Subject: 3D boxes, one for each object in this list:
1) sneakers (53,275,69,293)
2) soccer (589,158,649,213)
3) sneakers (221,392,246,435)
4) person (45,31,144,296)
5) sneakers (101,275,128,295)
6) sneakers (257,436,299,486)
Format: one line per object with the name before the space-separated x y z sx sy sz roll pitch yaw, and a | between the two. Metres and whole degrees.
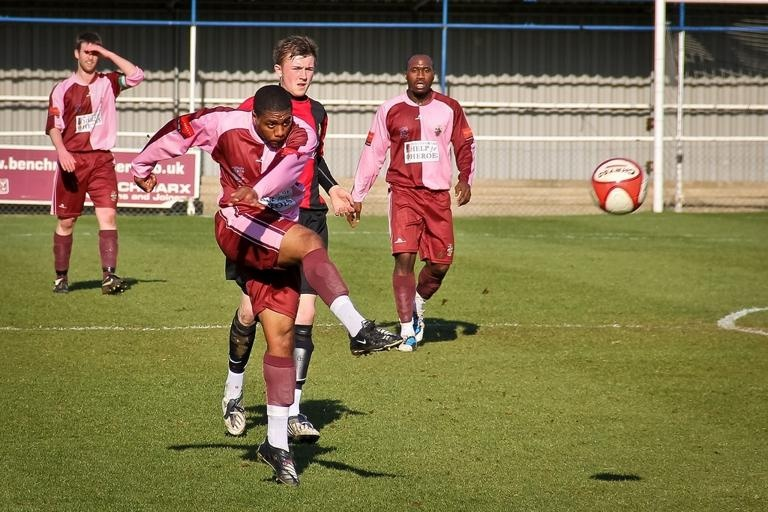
sneakers | -4.286 0.379 14.050 0.121 0.147 0.334 0 8 -13
soccer | 3.584 -1.064 16.117 0.823 0.847 0.772 -15 11 -40
sneakers | -1.474 1.515 10.341 0.154 0.416 0.185 -6 -32 -28
person | -3.946 -1.258 14.249 1.066 3.386 0.688 -1 7 -18
sneakers | -3.533 0.396 13.919 0.230 0.199 0.330 23 -20 -36
sneakers | -0.968 1.892 9.907 0.555 0.251 0.200 44 14 29
